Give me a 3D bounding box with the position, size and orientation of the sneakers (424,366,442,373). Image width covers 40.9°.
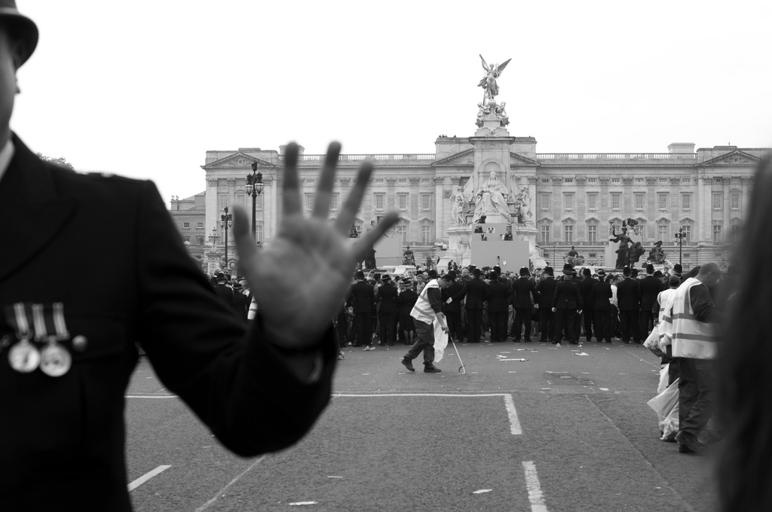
[{"bbox_3d":[0.715,1.735,16.082,0.276,0.156,0.100,-3,3,-6],"label":"sneakers"}]
